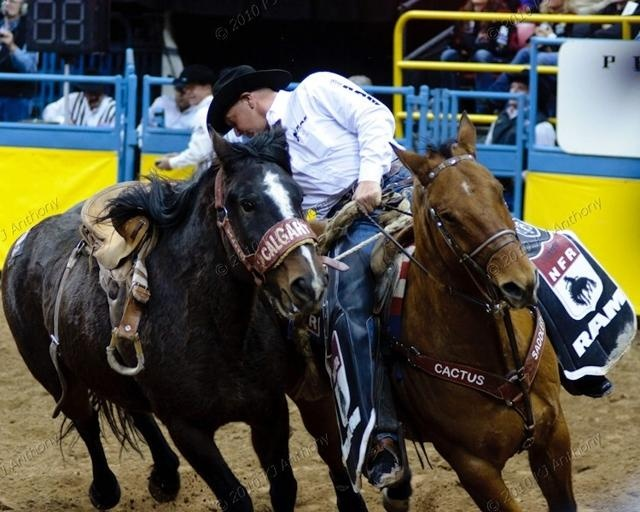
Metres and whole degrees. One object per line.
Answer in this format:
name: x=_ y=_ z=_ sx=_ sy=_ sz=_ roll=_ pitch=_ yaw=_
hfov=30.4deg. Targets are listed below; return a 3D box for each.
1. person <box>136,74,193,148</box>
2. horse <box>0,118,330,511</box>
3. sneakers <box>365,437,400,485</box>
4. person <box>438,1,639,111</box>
person: x=-1.479 y=-1.292 z=10.763 sx=0.566 sy=0.865 sz=0.503 roll=4 pitch=6 yaw=3
horse: x=-0.958 y=0.573 z=7.491 sx=2.459 sy=2.807 sz=0.852 roll=11 pitch=15 yaw=43
sneakers: x=0.387 y=1.237 z=7.148 sx=0.172 sy=0.321 sz=0.127 roll=-2 pitch=0 yaw=13
person: x=1.804 y=-1.873 z=10.969 sx=1.152 sy=0.665 sz=1.221 roll=1 pitch=-20 yaw=9
